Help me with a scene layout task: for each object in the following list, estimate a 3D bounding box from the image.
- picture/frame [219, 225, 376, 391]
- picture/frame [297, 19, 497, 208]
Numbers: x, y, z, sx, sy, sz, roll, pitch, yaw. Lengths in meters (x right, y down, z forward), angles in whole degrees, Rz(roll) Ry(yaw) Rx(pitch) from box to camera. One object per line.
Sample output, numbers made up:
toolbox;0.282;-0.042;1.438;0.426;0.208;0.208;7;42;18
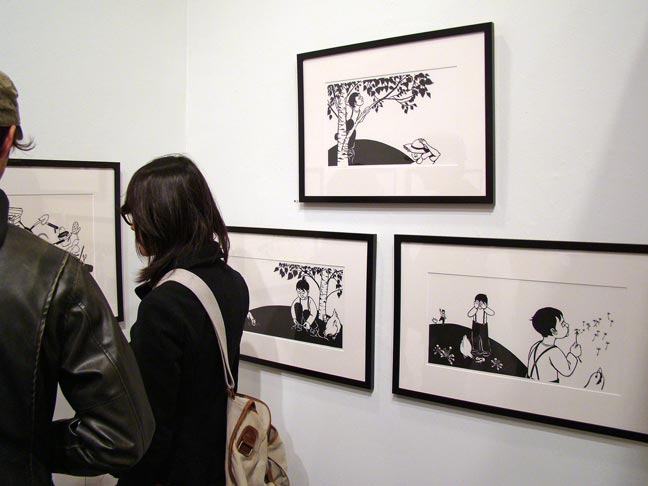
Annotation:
picture/frame;-0.072;0.216;1.604;0.486;0.466;0.020;2;2;29
picture/frame;0.252;-0.411;1.490;0.535;0.489;0.021;0;3;27
